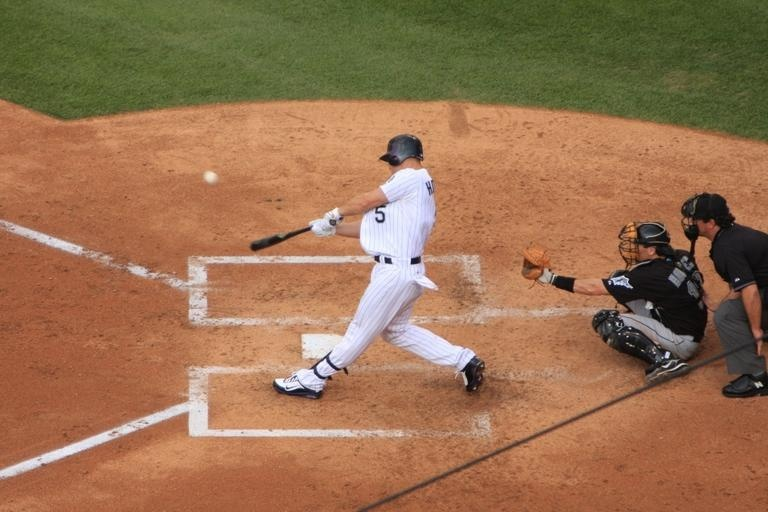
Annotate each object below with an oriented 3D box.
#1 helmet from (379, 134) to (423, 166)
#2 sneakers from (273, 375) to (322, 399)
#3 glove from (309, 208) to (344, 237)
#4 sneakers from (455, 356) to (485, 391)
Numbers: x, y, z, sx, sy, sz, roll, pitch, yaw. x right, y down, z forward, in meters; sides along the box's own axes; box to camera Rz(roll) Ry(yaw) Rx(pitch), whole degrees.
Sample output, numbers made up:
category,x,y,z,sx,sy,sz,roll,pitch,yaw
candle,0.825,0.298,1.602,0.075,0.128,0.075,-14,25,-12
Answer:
category,x,y,z,sx,sy,sz,roll,pitch,yaw
helmet,0.277,-1.096,9.978,0.595,0.216,0.346,7,17,24
sneakers,-0.887,1.365,10.171,0.722,0.188,0.187,6,23,2
glove,-0.630,-0.343,10.091,0.429,0.150,0.291,-9,22,42
sneakers,0.945,1.231,10.071,0.238,0.431,0.239,36,50,16
